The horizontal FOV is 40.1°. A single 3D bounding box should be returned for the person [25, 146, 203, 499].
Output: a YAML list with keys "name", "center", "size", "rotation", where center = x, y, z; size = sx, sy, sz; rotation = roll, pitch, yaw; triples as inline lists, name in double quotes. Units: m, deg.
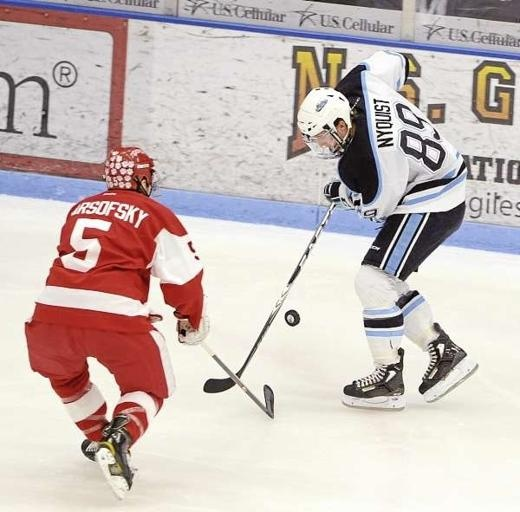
- name: "person"
  center: [-0.436, 0.173, 2.194]
  size: [0.534, 0.983, 0.772]
  rotation: [9, 15, -2]

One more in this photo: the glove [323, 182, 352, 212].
- name: "glove"
  center: [0.373, -0.261, 3.171]
  size: [0.103, 0.137, 0.071]
  rotation: [6, 42, 44]

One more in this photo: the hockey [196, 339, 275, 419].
- name: "hockey"
  center: [-0.108, 0.517, 2.928]
  size: [0.473, 0.035, 0.136]
  rotation: [34, 32, -9]

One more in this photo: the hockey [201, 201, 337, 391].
- name: "hockey"
  center: [0.146, 0.191, 3.051]
  size: [0.369, 1.025, 0.066]
  rotation: [39, -4, 38]

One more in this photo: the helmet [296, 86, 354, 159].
- name: "helmet"
  center: [0.250, -0.513, 2.778]
  size: [0.212, 0.268, 0.164]
  rotation: [8, 16, 0]

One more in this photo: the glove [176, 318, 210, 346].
- name: "glove"
  center: [-0.225, 0.253, 2.399]
  size: [0.083, 0.045, 0.120]
  rotation: [7, 18, 20]

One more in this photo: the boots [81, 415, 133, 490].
- name: "boots"
  center: [-0.407, 0.557, 1.993]
  size: [0.104, 0.180, 0.157]
  rotation: [7, 15, -9]

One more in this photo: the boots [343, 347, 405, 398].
- name: "boots"
  center: [0.426, 0.478, 2.812]
  size: [0.332, 0.161, 0.108]
  rotation: [0, 4, -25]

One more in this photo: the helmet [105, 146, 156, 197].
- name: "helmet"
  center: [-0.420, -0.280, 2.392]
  size: [0.173, 0.146, 0.195]
  rotation: [9, 13, 26]
